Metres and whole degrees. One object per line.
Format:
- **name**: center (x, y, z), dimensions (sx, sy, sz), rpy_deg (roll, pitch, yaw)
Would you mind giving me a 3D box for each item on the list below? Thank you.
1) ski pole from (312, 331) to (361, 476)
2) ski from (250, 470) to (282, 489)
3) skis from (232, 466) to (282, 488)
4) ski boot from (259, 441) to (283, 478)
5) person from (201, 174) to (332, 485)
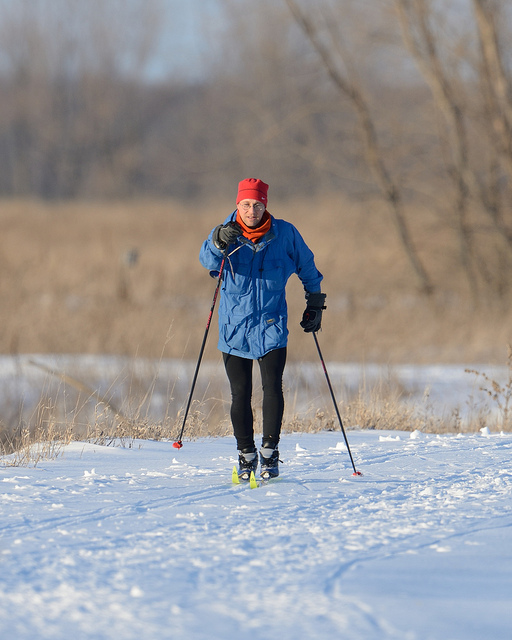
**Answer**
- **ski pole**: center (0.642, 0.735, 8.766), dimensions (0.062, 0.874, 0.092), rpy_deg (-14, 2, -5)
- **ski**: center (0.051, 0.892, 5.993), dimensions (0.063, 0.103, 0.221), rpy_deg (4, 10, 23)
- **skis**: center (0.003, 0.867, 6.002), dimensions (0.270, 0.074, 0.320), rpy_deg (0, 5, 0)
- **ski boot**: center (0.082, 0.788, 6.152), dimensions (0.091, 0.148, 0.199), rpy_deg (1, 8, 6)
- **person**: center (0.093, 0.048, 6.208), dimensions (0.654, 1.706, 0.474), rpy_deg (-3, 6, -29)
